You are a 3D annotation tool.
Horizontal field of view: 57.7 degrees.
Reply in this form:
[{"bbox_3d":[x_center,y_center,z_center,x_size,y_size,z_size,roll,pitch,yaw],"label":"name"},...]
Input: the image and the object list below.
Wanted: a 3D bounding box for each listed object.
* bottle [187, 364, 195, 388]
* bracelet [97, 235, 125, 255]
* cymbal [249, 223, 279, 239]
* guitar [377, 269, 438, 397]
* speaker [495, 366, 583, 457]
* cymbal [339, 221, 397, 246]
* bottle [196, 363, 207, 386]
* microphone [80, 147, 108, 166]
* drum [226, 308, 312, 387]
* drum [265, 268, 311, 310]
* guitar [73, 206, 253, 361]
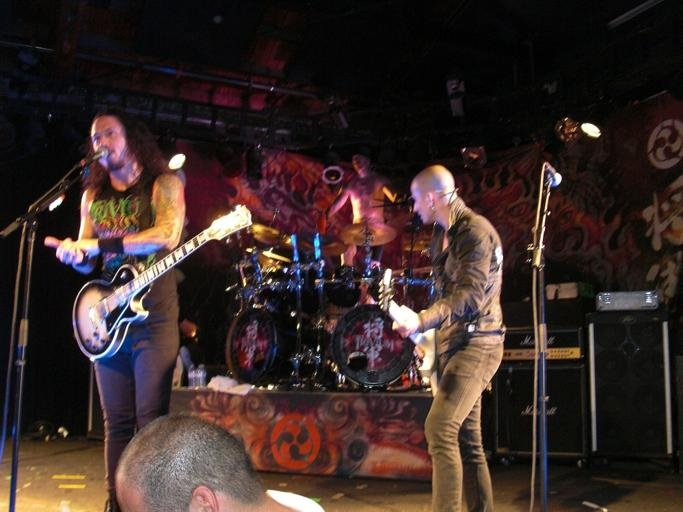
[{"bbox_3d":[-1.520,1.203,6.264,0.047,0.213,0.192,1,-8,-15],"label":"bottle"},{"bbox_3d":[-1.564,-0.076,4.217,0.218,0.106,0.080,-5,-9,27],"label":"bracelet"},{"bbox_3d":[-0.895,-0.290,7.182,0.339,0.185,0.307,1,-9,-9],"label":"cymbal"},{"bbox_3d":[0.528,0.684,5.146,0.660,0.225,1.646,-28,17,13],"label":"guitar"},{"bbox_3d":[1.916,1.501,6.275,0.935,0.938,0.528,1,-3,-1],"label":"speaker"},{"bbox_3d":[0.304,-0.246,7.139,0.622,0.240,0.538,-1,-9,1],"label":"cymbal"},{"bbox_3d":[-1.449,1.204,6.259,0.152,0.217,0.318,1,-8,-11],"label":"bottle"},{"bbox_3d":[-1.747,-0.679,4.314,0.214,0.116,0.134,-9,-11,42],"label":"microphone"},{"bbox_3d":[-0.883,0.964,6.979,0.974,1.017,0.731,-5,-9,31],"label":"drum"},{"bbox_3d":[-0.573,0.385,7.093,0.577,0.472,0.263,1,-8,-10],"label":"drum"},{"bbox_3d":[-1.534,0.282,5.436,2.011,0.741,0.305,-31,-15,0],"label":"guitar"}]
